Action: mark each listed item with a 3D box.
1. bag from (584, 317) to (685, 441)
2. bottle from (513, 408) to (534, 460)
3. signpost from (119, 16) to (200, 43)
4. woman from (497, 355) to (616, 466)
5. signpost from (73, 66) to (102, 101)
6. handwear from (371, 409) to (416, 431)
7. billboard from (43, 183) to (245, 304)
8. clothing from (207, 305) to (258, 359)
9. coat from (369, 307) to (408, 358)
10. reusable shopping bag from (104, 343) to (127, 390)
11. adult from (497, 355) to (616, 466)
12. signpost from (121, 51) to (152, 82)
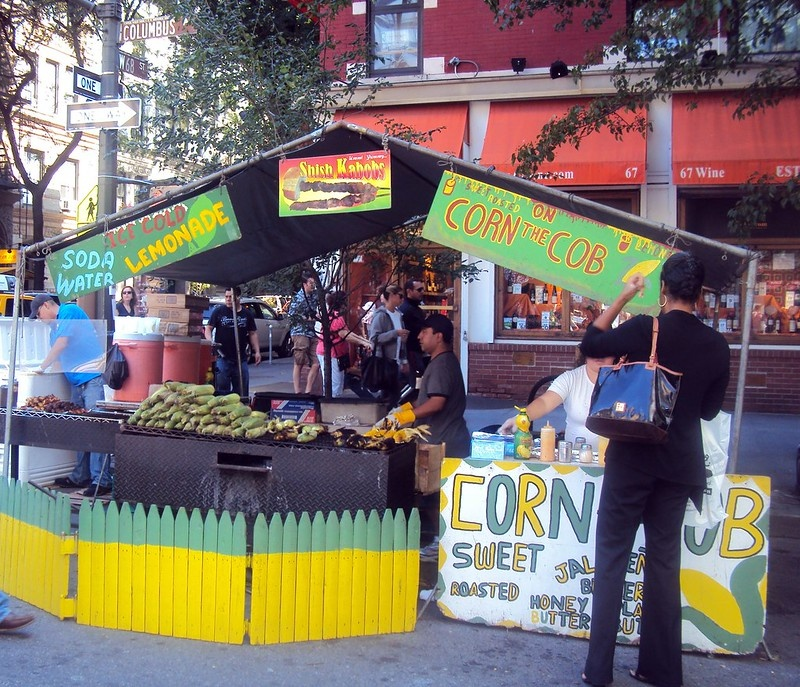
[{"bbox_3d":[1.342,0.178,4.841,0.214,0.863,0.507,33,-22,-37],"label":"bag"},{"bbox_3d":[0.839,0.615,5.785,0.121,0.318,0.215,2,3,8],"label":"bottle"},{"bbox_3d":[-2.784,-3.555,9.669,0.928,0.276,0.306,4,3,27],"label":"signpost"},{"bbox_3d":[1.340,0.563,7.301,0.761,0.854,0.240,22,-5,-2],"label":"woman"},{"bbox_3d":[-3.523,-2.933,9.553,0.248,0.330,0.411,4,3,40],"label":"signpost"},{"bbox_3d":[-0.034,0.630,6.887,0.222,0.100,0.178,-22,3,2],"label":"handwear"},{"bbox_3d":[-2.085,-0.801,6.878,1.650,0.962,0.236,3,3,16],"label":"billboard"},{"bbox_3d":[-2.457,-0.074,12.842,0.675,0.925,0.330,-6,-16,-1],"label":"clothing"},{"bbox_3d":[-0.136,-0.130,11.740,0.561,0.759,0.449,-6,11,-41],"label":"coat"},{"bbox_3d":[-3.096,0.225,9.202,0.208,0.456,0.333,0,20,-43],"label":"reusable shopping bag"},{"bbox_3d":[1.340,0.563,7.301,0.762,0.854,0.240,22,-5,-2],"label":"adult"},{"bbox_3d":[-3.090,-3.228,9.888,0.167,0.247,0.594,3,3,12],"label":"signpost"}]
